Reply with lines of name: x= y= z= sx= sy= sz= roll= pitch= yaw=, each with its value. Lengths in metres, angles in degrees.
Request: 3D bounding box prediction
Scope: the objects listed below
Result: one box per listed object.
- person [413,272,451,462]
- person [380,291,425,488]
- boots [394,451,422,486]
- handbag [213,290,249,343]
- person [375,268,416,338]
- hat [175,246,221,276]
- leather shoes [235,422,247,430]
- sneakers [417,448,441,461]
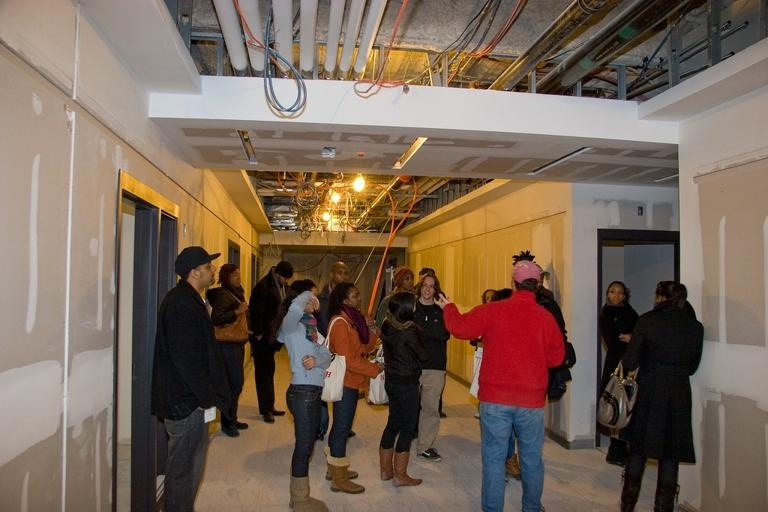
person: x=0.639 y=1.058 z=5.528 sx=0.468 sy=1.692 sz=0.407 roll=-11 pitch=17 yaw=-14
person: x=0.159 y=1.248 z=4.883 sx=0.380 sy=1.810 sz=0.578 roll=1 pitch=-7 yaw=0
boots: x=0.224 y=2.042 z=5.014 sx=0.335 sy=0.313 sz=0.148 roll=15 pitch=-19 yaw=-33
handbag: x=-1.718 y=0.593 z=5.949 sx=0.308 sy=0.440 sz=0.233 roll=7 pitch=-28 yaw=4
person: x=0.130 y=0.658 z=5.682 sx=0.522 sy=1.066 sz=0.488 roll=2 pitch=-1 yaw=3
hat: x=-1.431 y=0.026 z=3.980 sx=0.302 sy=0.154 sz=0.195 roll=-29 pitch=12 yaw=-13
leather shoes: x=-1.733 y=2.037 z=6.323 sx=0.144 sy=0.096 sz=0.054 roll=-1 pitch=8 yaw=-21
sneakers: x=0.485 y=2.097 z=5.544 sx=0.252 sy=0.107 sz=0.109 roll=0 pitch=-4 yaw=16
